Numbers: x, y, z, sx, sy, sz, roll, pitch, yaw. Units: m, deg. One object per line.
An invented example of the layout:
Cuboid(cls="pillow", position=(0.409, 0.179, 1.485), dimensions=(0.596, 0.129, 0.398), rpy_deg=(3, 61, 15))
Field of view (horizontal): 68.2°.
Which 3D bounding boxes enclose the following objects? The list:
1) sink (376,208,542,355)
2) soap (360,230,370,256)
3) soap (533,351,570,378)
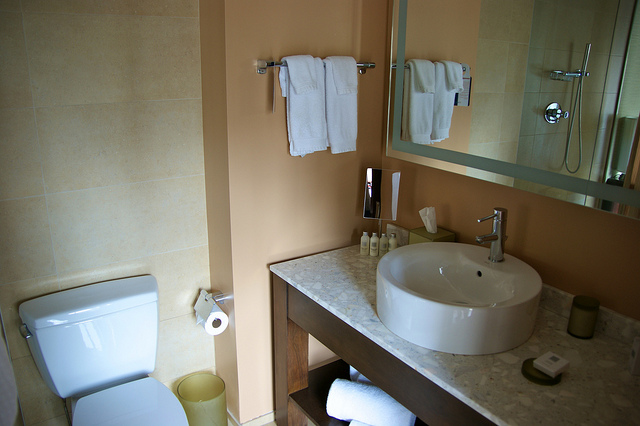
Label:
Cuboid(cls="sink", position=(0.616, 0.232, 2.007), dimensions=(0.672, 0.511, 0.681), rpy_deg=(17, 17, 38))
Cuboid(cls="soap", position=(0.231, 0.155, 2.477), dimensions=(0.052, 0.117, 0.083), rpy_deg=(-4, 20, -1))
Cuboid(cls="soap", position=(0.829, 0.543, 1.700), dimensions=(0.081, 0.020, 0.081), rpy_deg=(-21, 29, -29))
